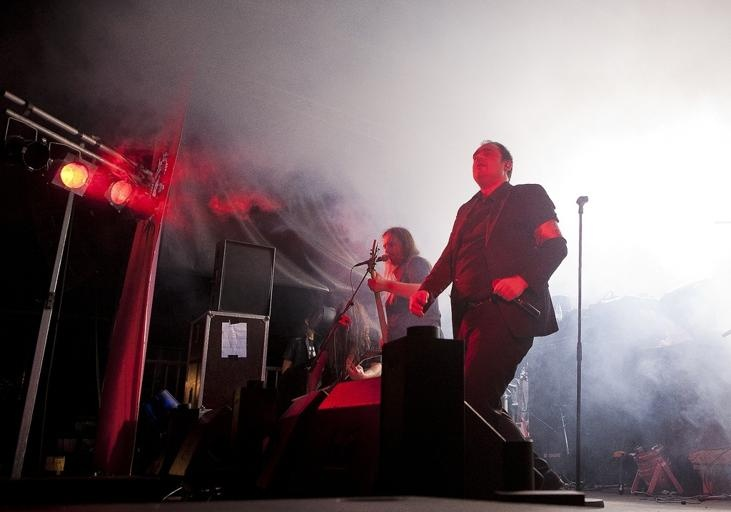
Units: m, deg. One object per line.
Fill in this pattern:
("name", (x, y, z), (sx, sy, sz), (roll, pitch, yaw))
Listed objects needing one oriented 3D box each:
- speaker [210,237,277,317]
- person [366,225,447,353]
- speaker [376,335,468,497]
("speaker", (-1.612, 0.339, 6.913), (0.737, 0.941, 0.503), (12, -18, -33))
("person", (0.468, 0.378, 5.927), (0.476, 1.520, 0.550), (5, -49, -3))
("speaker", (0.359, 1.001, 3.428), (0.532, 1.008, 0.381), (2, -22, -2))
